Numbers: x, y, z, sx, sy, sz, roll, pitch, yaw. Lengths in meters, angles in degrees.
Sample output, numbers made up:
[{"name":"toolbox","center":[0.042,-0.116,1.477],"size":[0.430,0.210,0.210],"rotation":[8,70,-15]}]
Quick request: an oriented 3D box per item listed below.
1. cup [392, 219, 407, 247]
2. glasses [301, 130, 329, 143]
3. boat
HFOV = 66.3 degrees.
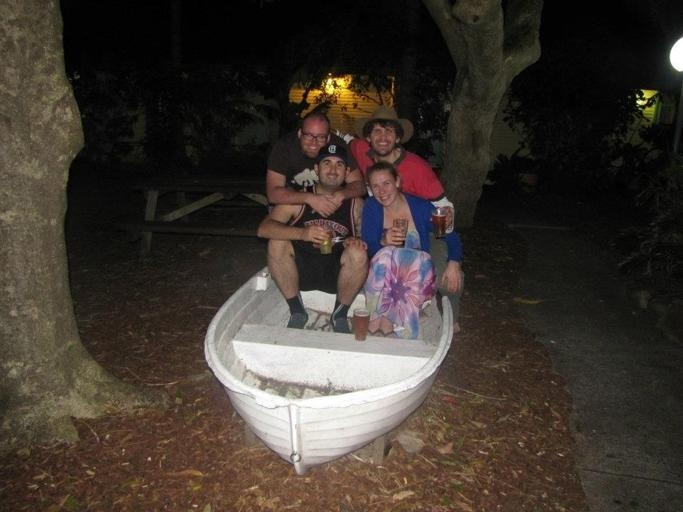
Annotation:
[{"name":"cup","center":[0.493,-0.181,4.245],"size":[0.098,0.228,0.222],"rotation":[13,13,31]},{"name":"glasses","center":[-0.238,-1.052,4.670],"size":[0.263,0.086,0.155],"rotation":[6,11,-7]},{"name":"boat","center":[-0.200,0.849,3.601],"size":[1.627,0.929,1.264],"rotation":[13,13,28]}]
